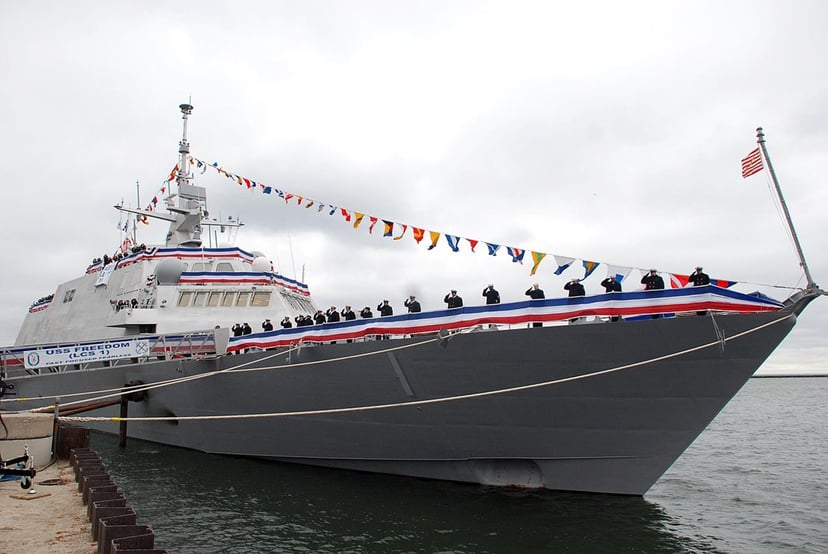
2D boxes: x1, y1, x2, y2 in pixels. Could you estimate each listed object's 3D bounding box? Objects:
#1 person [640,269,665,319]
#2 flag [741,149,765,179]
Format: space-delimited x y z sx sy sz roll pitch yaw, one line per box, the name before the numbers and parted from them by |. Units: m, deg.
person | 5.466 0.392 15.066 0.516 1.170 1.032 6 1 19
flag | 7.595 -2.597 14.743 0.475 0.688 0.238 5 1 33
